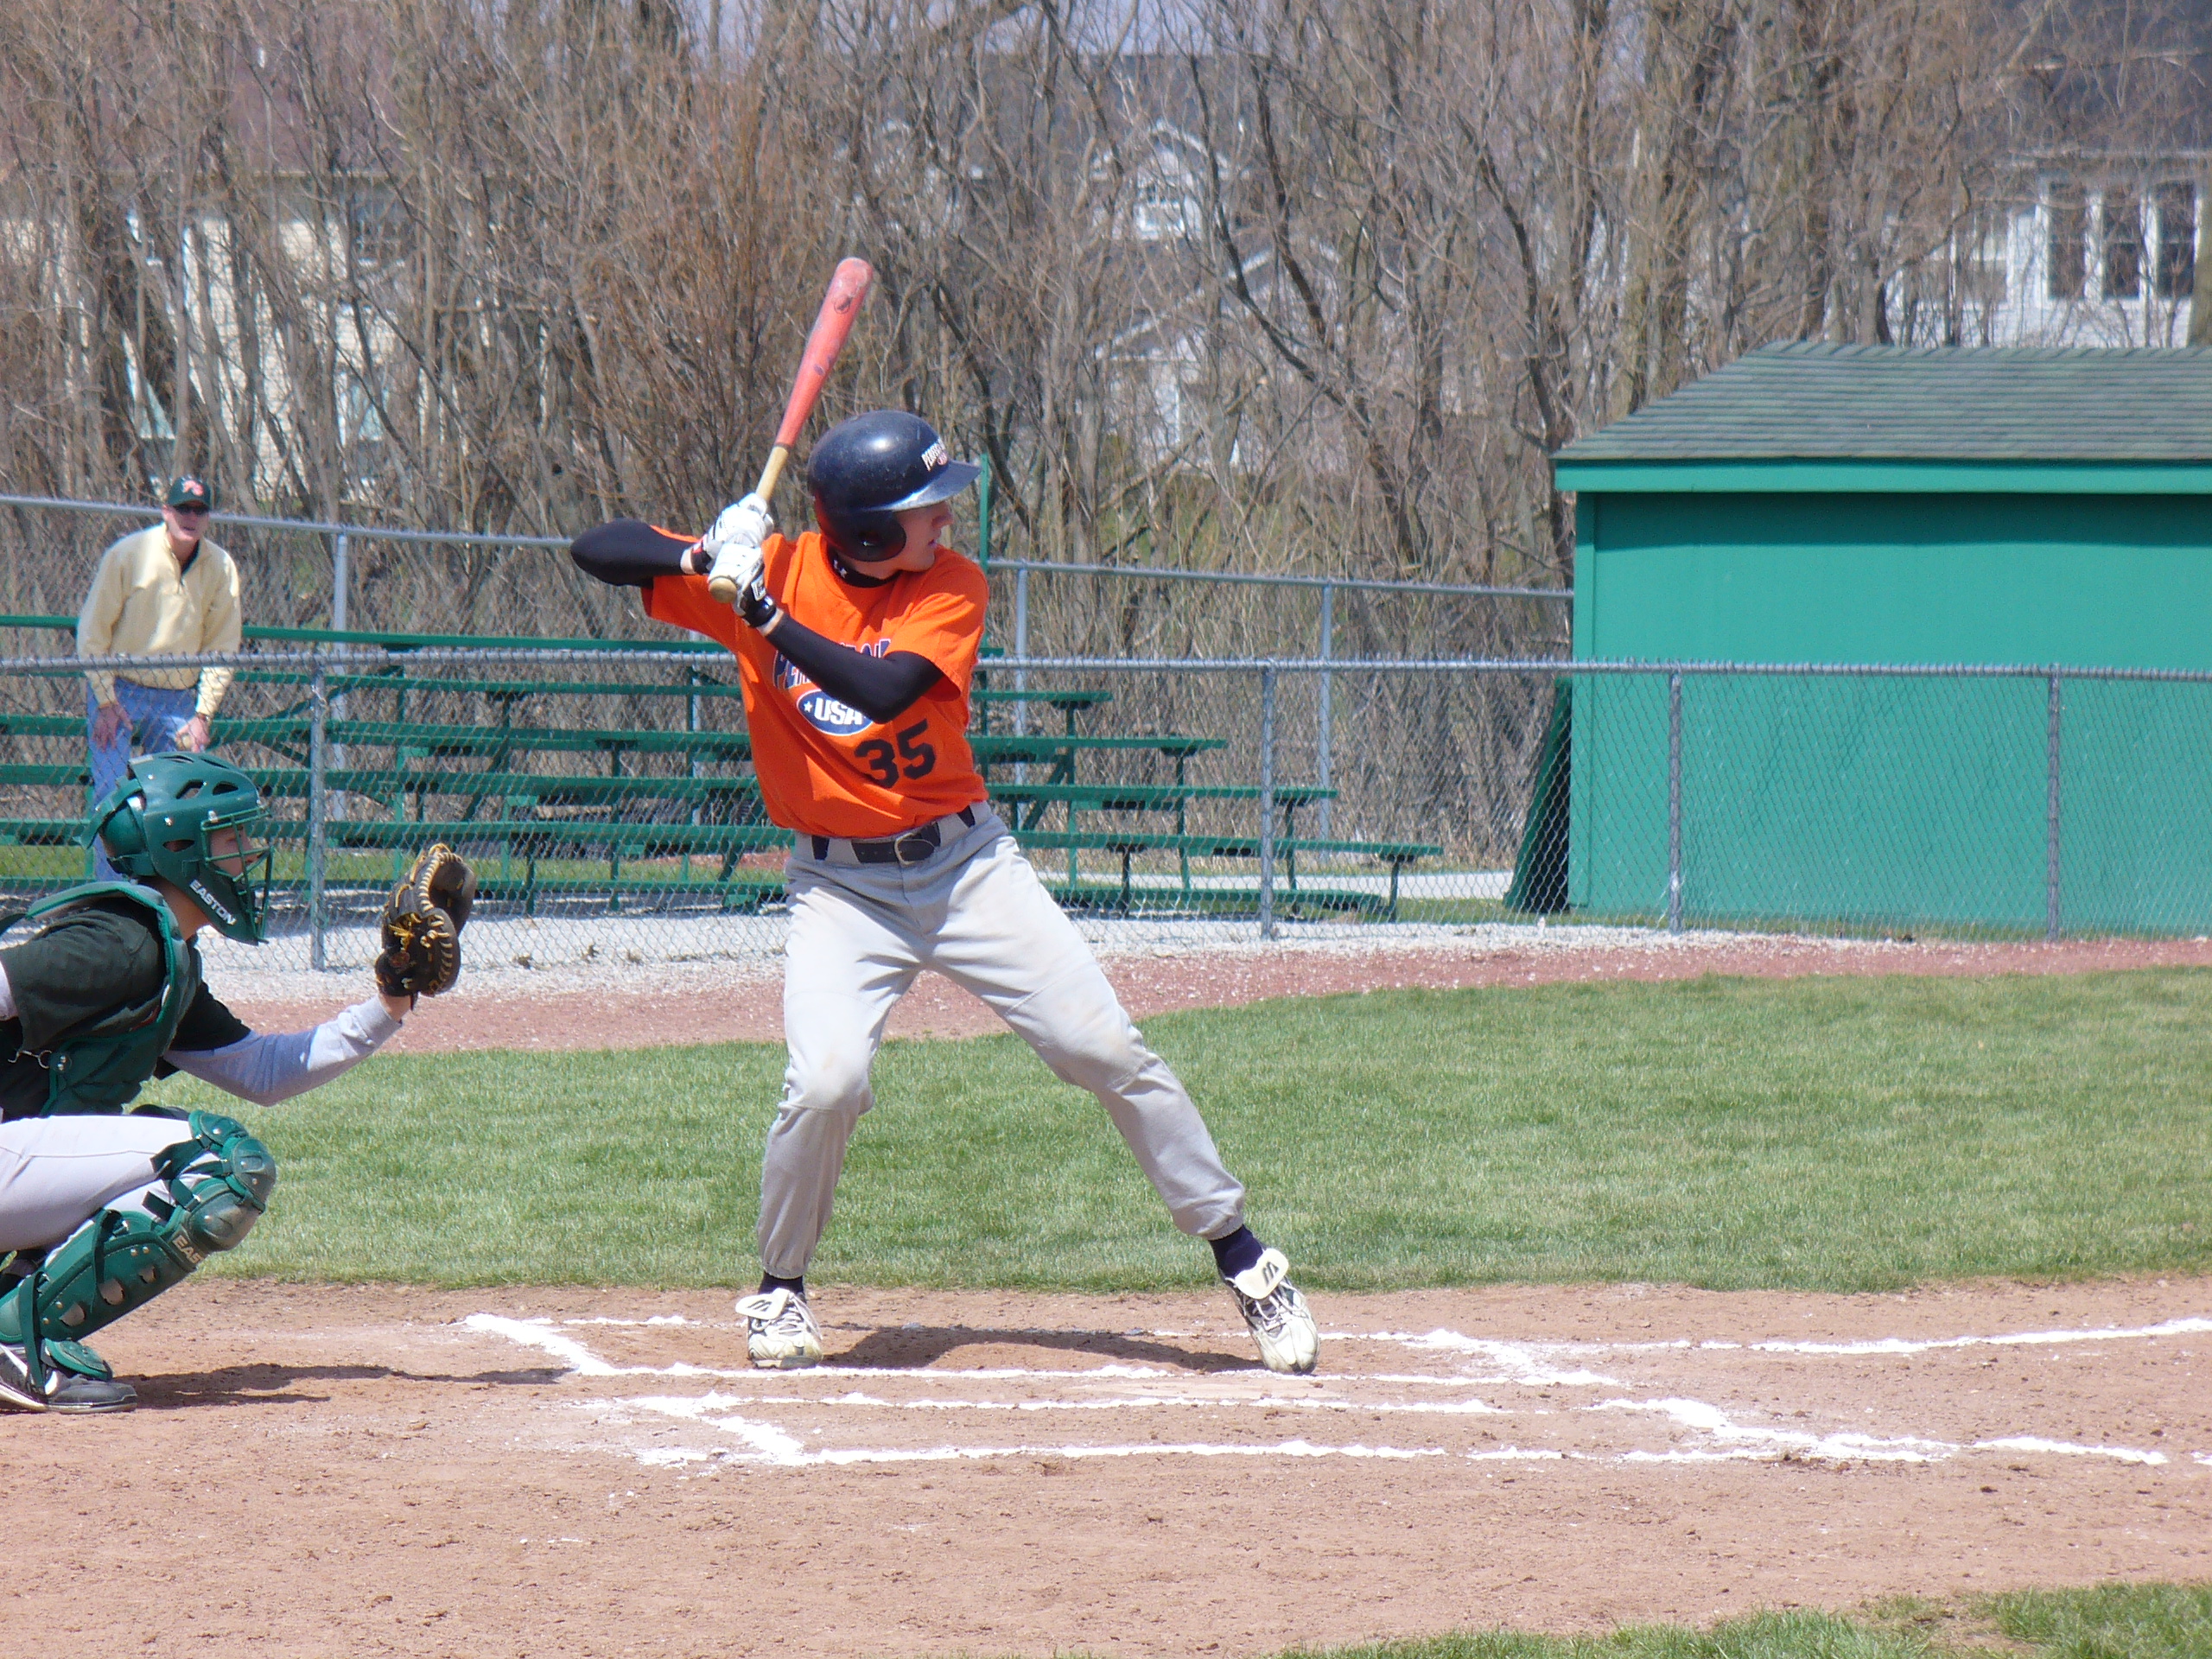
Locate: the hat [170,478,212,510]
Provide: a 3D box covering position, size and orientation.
[{"bbox_3d":[-4.799,-1.739,21.940,0.198,0.161,0.411,-1,4,-9],"label":"hat"}]

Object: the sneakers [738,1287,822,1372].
[{"bbox_3d":[-1.344,2.056,17.249,0.216,0.198,0.415,1,-3,-16],"label":"sneakers"}]

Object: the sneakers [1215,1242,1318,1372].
[{"bbox_3d":[0.690,2.041,17.342,0.234,0.677,0.285,-34,-19,12],"label":"sneakers"}]

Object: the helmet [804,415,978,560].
[{"bbox_3d":[-0.876,-1.364,16.977,0.635,0.549,0.498,-2,11,4],"label":"helmet"}]

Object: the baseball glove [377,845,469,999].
[{"bbox_3d":[-2.718,0.415,16.961,0.222,0.581,0.405,19,-3,-33],"label":"baseball glove"}]

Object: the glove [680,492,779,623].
[{"bbox_3d":[-1.524,-1.104,17.042,0.253,0.471,0.187,18,-34,-7],"label":"glove"}]
